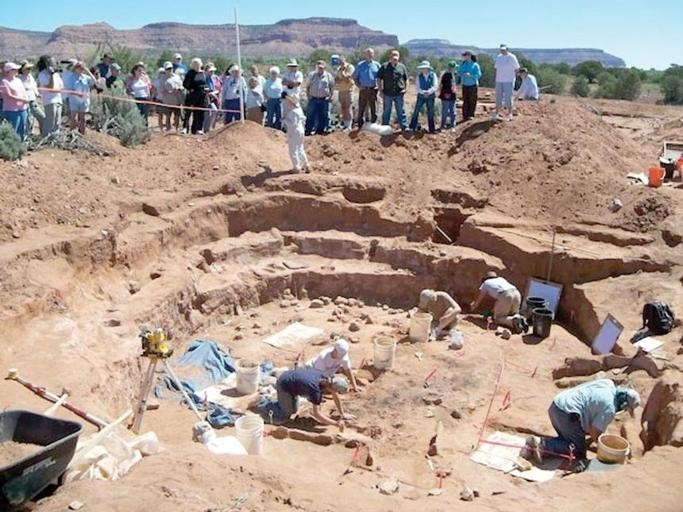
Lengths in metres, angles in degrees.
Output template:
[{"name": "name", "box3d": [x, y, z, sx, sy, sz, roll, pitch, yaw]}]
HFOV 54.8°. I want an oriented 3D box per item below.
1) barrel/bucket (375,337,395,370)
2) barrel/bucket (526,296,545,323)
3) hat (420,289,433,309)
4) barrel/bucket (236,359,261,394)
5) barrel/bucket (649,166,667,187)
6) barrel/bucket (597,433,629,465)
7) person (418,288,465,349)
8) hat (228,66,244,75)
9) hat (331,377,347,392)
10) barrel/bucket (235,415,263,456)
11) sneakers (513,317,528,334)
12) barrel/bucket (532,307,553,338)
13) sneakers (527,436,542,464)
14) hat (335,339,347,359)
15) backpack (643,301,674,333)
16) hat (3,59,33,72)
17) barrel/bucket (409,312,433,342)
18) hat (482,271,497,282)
[{"name": "barrel/bucket", "box3d": [0.702, 1.665, 11.321, 0.447, 0.487, 0.452, 1, 10, 0]}, {"name": "barrel/bucket", "box3d": [3.791, 1.018, 13.022, 0.292, 0.421, 0.482, -2, 2, 14]}, {"name": "hat", "box3d": [1.567, 0.822, 12.419, 0.174, 0.335, 0.250, 9, 10, -36]}, {"name": "barrel/bucket", "box3d": [-1.533, 1.987, 10.936, 0.473, 0.511, 0.476, 1, 0, 0]}, {"name": "barrel/bucket", "box3d": [6.797, -1.707, 14.232, 0.303, 0.388, 0.500, 8, 14, 24]}, {"name": "barrel/bucket", "box3d": [3.664, 2.608, 8.898, 0.365, 0.277, 0.372, -6, 23, 3]}, {"name": "person", "box3d": [1.749, 1.106, 12.460, 0.854, 1.007, 0.873, -16, 3, -25]}, {"name": "hat", "box3d": [-2.603, -4.562, 15.953, 0.389, 0.114, 0.376, -4, 21, -11]}, {"name": "hat", "box3d": [-0.041, 1.908, 9.860, 0.228, 0.231, 0.279, 2, 13, 3]}, {"name": "barrel/bucket", "box3d": [-1.288, 2.493, 9.309, 0.451, 0.477, 0.442, 0, 6, 0]}, {"name": "sneakers", "box3d": [3.401, 1.314, 12.584, 0.242, 0.349, 0.122, 1, 5, 0]}, {"name": "barrel/bucket", "box3d": [3.803, 1.255, 12.610, 0.479, 0.530, 0.461, 0, 13, 0]}, {"name": "sneakers", "box3d": [2.699, 2.685, 9.176, 0.130, 0.392, 0.168, -16, -15, 16]}, {"name": "hat", "box3d": [-0.025, 1.415, 10.078, 0.201, 0.303, 0.239, 1, 13, -4]}, {"name": "backpack", "box3d": [5.356, 1.045, 11.163, 0.398, 0.549, 0.219, 1, -16, 18]}, {"name": "hat", "box3d": [-6.306, -3.645, 12.631, 0.566, 0.193, 0.364, -6, 23, -14]}, {"name": "barrel/bucket", "box3d": [1.390, 1.307, 12.188, 0.458, 0.533, 0.471, 2, 4, 0]}, {"name": "hat", "box3d": [2.855, 0.382, 12.926, 0.263, 0.104, 0.230, 1, 3, 43]}]
